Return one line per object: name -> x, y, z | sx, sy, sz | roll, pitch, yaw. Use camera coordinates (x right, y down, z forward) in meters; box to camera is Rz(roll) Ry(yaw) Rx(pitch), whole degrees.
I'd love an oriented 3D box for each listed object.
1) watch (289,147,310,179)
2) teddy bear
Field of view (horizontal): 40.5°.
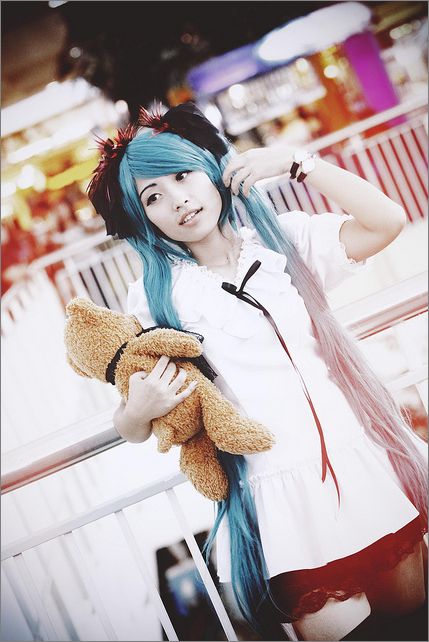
watch -> 0.234, -0.438, 1.617 | 0.020, 0.078, 0.059 | 12, 27, -47
teddy bear -> -0.147, 0.191, 1.661 | 0.686, 0.283, 0.380 | 42, 81, 6
